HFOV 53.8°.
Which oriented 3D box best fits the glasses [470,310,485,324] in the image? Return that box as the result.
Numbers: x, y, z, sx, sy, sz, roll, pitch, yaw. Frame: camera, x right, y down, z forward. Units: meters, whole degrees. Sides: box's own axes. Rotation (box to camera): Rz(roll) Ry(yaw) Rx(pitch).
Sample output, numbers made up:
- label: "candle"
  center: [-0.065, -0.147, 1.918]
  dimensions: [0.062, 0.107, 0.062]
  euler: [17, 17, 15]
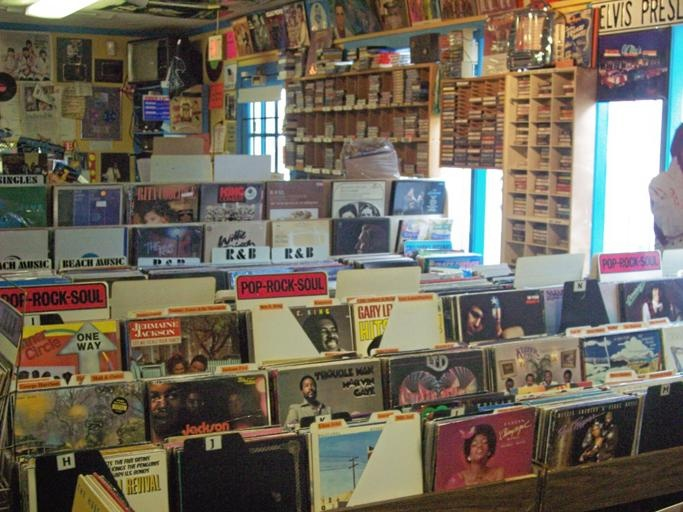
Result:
- label: "glasses"
  center: [0.678, 0.300, 3.310]
  dimensions: [0.052, 0.072, 0.040]
  euler: [1, -6, 7]

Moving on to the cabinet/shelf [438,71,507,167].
- label: "cabinet/shelf"
  center: [1.403, -1.449, 7.038]
  dimensions: [0.331, 0.991, 0.987]
  euler: [-6, 10, -38]
